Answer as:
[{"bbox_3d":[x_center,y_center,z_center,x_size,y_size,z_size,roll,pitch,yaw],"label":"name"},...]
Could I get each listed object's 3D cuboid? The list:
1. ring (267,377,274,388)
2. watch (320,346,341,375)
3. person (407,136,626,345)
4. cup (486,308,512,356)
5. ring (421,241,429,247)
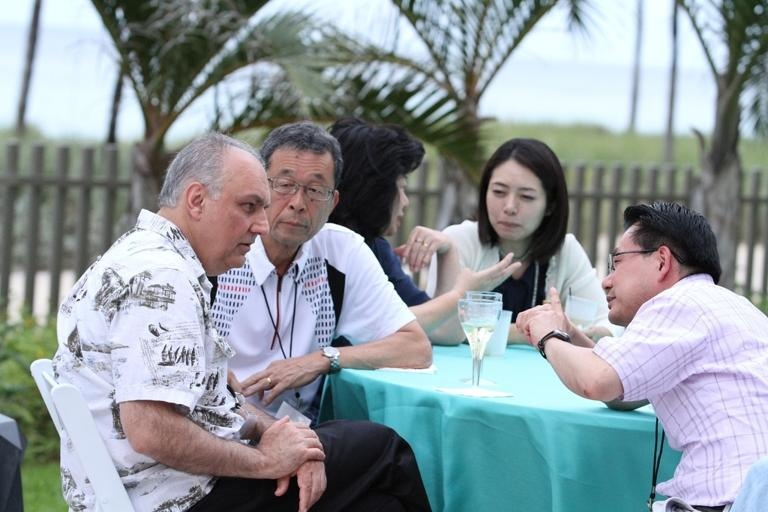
[{"bbox_3d":[-0.496,0.549,3.172,0.014,0.037,0.027,-12,6,-19],"label":"ring"},{"bbox_3d":[-0.240,0.467,3.249,0.066,0.098,0.110,1,28,-14],"label":"watch"},{"bbox_3d":[0.821,-0.051,4.332,1.157,1.660,1.073,2,13,13],"label":"person"},{"bbox_3d":[0.565,0.376,3.571,0.181,0.202,0.186,2,4,0],"label":"cup"},{"bbox_3d":[0.228,-0.063,4.148,0.030,0.031,0.021,0,-17,4],"label":"ring"}]
